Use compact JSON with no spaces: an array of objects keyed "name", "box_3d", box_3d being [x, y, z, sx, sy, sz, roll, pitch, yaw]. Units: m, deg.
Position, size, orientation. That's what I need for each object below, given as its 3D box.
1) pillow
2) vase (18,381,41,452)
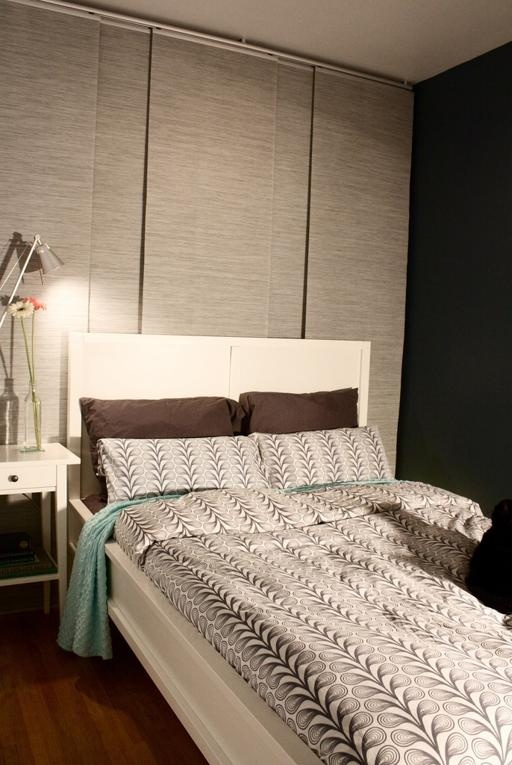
[{"name":"pillow","box_3d":[-0.045,0.250,2.542,1.337,0.389,0.527,-1,2,-27]},{"name":"vase","box_3d":[-0.945,0.140,2.399,0.092,0.271,0.195,0,2,-21]}]
